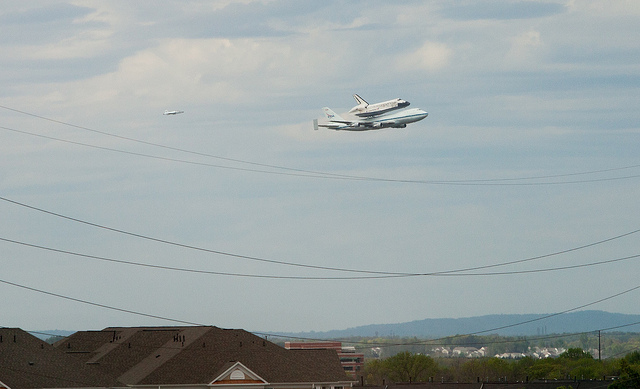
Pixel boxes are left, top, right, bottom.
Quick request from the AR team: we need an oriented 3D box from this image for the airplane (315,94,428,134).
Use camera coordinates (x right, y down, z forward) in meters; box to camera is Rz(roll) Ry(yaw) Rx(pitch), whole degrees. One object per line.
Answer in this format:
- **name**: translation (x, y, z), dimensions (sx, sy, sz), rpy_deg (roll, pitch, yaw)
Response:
- **airplane**: translation (22.425, -36.923, 768.708), dimensions (43.885, 9.984, 44.149), rpy_deg (-10, -1, 10)
